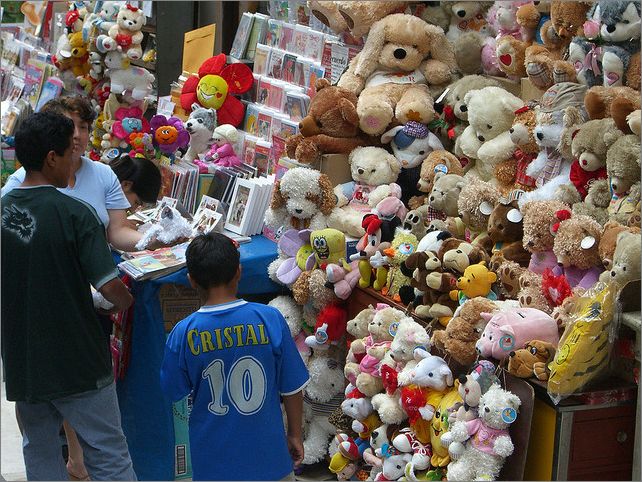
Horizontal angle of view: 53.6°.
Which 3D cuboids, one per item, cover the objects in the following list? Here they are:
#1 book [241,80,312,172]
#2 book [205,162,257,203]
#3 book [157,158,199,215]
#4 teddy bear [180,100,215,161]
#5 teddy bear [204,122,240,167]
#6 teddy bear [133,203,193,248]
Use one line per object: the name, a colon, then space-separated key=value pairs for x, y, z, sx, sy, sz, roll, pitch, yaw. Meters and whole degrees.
book: x=-0.300 y=-0.800 z=4.456 sx=0.180 sy=0.593 sz=0.557 roll=12 pitch=13 yaw=-33
book: x=-0.636 y=-0.408 z=4.465 sx=0.240 sy=0.353 sz=0.324 roll=17 pitch=-4 yaw=-21
book: x=-1.012 y=-0.406 z=4.500 sx=0.115 sy=0.394 sz=0.273 roll=-7 pitch=17 yaw=-21
teddy bear: x=-0.917 y=-0.811 z=4.859 sx=0.277 sy=0.466 sz=0.298 roll=1 pitch=15 yaw=-29
teddy bear: x=-0.737 y=-0.714 z=4.727 sx=0.283 sy=0.304 sz=0.157 roll=4 pitch=2 yaw=30
teddy bear: x=-0.955 y=-0.096 z=3.762 sx=0.270 sy=0.223 sz=0.205 roll=-5 pitch=9 yaw=-27
